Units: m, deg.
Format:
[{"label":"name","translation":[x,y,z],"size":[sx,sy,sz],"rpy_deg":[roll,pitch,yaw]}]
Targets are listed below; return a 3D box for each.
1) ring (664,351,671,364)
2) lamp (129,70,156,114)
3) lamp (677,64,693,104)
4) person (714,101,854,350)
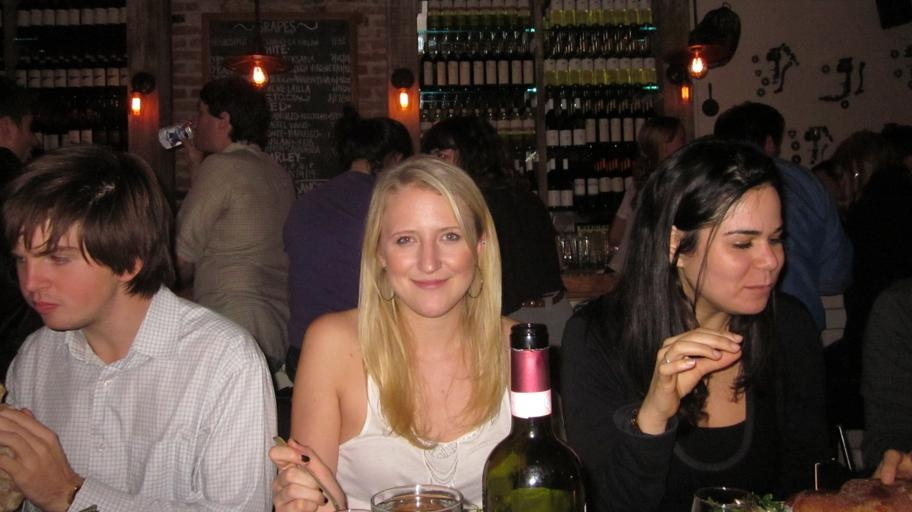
[{"label":"ring","translation":[0.828,0.404,3.180],"size":[0.011,0.034,0.035],"rpy_deg":[16,3,-8]},{"label":"lamp","translation":[-2.738,-1.405,7.049],"size":[0.220,0.370,0.078],"rpy_deg":[-2,8,-21]},{"label":"lamp","translation":[2.092,-1.547,7.356],"size":[0.101,0.325,0.270],"rpy_deg":[4,8,25]},{"label":"person","translation":[2.004,-0.338,4.947],"size":[0.762,1.427,0.955],"rpy_deg":[-16,37,10]}]
